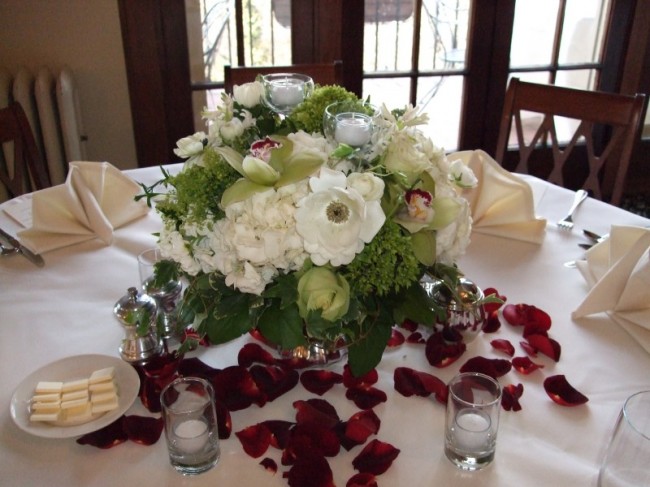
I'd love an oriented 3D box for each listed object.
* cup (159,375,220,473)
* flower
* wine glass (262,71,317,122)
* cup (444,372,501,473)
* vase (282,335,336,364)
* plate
[{"bbox_3d":[-0.245,0.332,0.895,0.095,0.133,0.107,-7,25,-17],"label":"cup"},{"bbox_3d":[-0.028,-0.031,1.032,0.648,0.557,0.430,8,25,16],"label":"flower"},{"bbox_3d":[-0.086,-0.354,1.116,0.104,0.089,0.115,-4,29,-12],"label":"wine glass"},{"bbox_3d":[0.281,0.323,0.901,0.111,0.143,0.108,1,24,0],"label":"cup"},{"bbox_3d":[-0.025,0.208,1.038,0.073,0.037,0.083,4,4,42],"label":"vase"},{"bbox_3d":[-0.494,0.295,0.968,0.245,0.038,0.196,2,25,2],"label":"plate"}]
